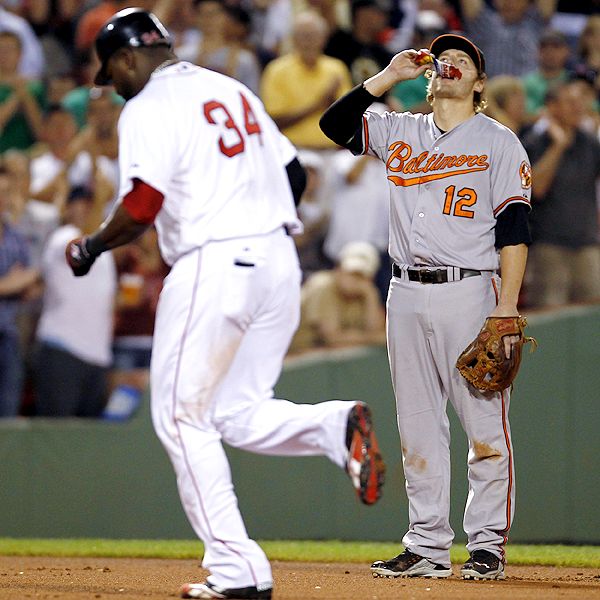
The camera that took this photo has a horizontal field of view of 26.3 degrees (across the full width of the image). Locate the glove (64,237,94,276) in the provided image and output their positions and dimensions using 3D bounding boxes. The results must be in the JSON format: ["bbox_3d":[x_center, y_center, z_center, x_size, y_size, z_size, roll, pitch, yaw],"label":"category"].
[{"bbox_3d":[-0.952,-0.201,5.662,0.153,0.168,0.125,4,21,44],"label":"glove"}]

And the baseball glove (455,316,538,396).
[{"bbox_3d":[0.938,0.219,5.924,0.280,0.143,0.402,18,51,10],"label":"baseball glove"}]

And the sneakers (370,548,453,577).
[{"bbox_3d":[0.519,1.260,5.989,0.335,0.167,0.145,4,-5,0],"label":"sneakers"}]

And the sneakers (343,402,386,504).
[{"bbox_3d":[0.282,0.698,5.649,0.155,0.455,0.182,-9,-22,6],"label":"sneakers"}]

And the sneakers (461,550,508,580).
[{"bbox_3d":[0.851,1.236,5.898,0.095,0.117,0.230,-7,-14,42],"label":"sneakers"}]

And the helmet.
[{"bbox_3d":[-0.739,-1.149,5.713,0.329,0.180,0.251,-24,5,36],"label":"helmet"}]
